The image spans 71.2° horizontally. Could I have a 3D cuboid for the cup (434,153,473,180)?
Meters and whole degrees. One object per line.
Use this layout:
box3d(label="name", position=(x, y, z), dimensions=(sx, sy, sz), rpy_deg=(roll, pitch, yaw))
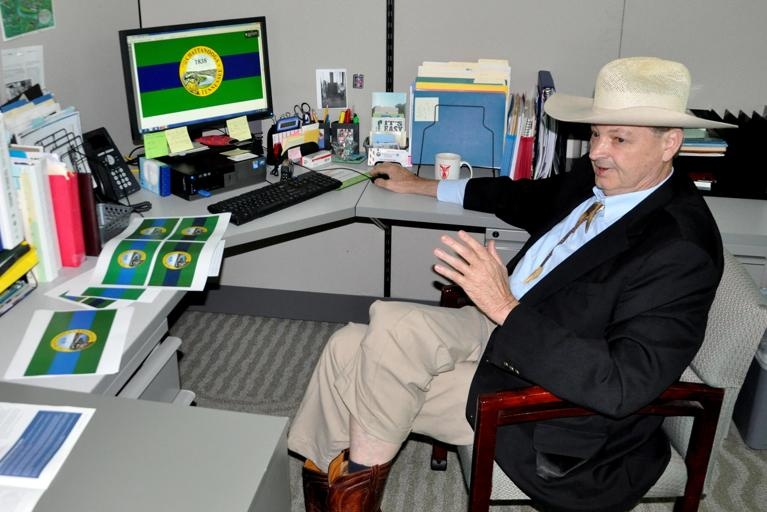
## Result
box3d(label="cup", position=(0.333, -0.415, 2.538), dimensions=(0.181, 0.128, 0.117), rpy_deg=(9, 29, 3))

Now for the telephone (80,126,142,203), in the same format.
box3d(label="telephone", position=(-1.149, -0.363, 2.252), dimensions=(0.099, 0.305, 0.231), rpy_deg=(-14, 17, 34))

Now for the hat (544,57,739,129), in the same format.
box3d(label="hat", position=(0.804, -0.518, 1.713), dimensions=(0.458, 0.157, 0.387), rpy_deg=(7, 18, 4))
